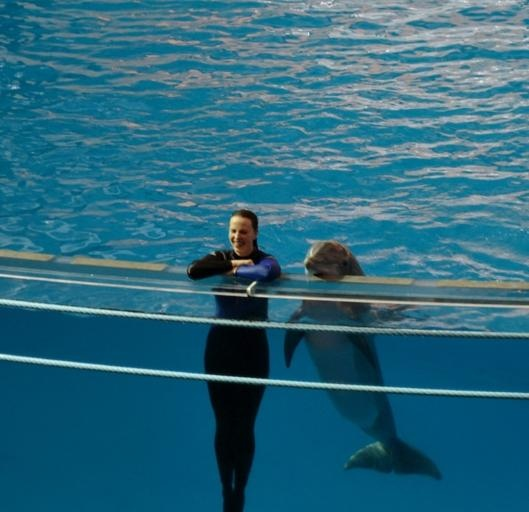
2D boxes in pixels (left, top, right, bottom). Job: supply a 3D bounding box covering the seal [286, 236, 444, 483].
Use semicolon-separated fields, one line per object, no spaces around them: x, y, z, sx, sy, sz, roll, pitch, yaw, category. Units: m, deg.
0.398;0.561;4.421;0.801;1.001;1.081;1;14;-15;seal
